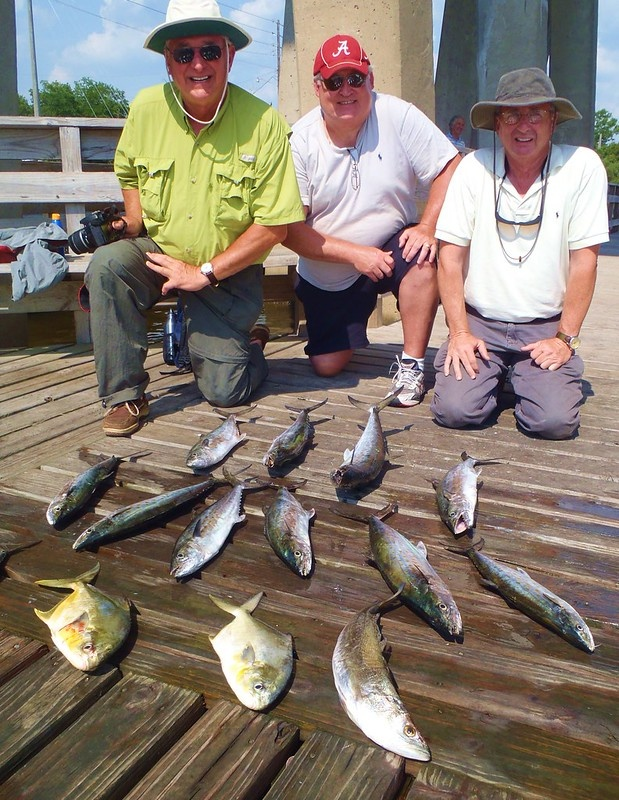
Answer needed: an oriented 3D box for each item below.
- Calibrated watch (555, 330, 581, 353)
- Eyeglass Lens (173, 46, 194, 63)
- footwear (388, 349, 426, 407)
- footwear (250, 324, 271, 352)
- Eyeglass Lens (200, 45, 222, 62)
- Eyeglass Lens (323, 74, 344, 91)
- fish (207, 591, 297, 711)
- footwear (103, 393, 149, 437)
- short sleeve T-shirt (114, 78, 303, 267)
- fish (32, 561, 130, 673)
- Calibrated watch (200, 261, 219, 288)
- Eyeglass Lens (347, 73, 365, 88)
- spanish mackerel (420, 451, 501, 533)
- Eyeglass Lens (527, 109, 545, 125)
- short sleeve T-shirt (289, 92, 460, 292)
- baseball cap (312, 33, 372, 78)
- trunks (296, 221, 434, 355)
[{"bbox_3d":[1.217,-0.278,3.133,0.100,0.095,0.075,4,14,12],"label":"Calibrated watch"},{"bbox_3d":[-0.557,-1.525,2.939,0.099,0.068,0.028,7,15,22],"label":"Eyeglass Lens"},{"bbox_3d":[0.533,-0.116,3.596,0.160,0.158,0.377,3,29,15],"label":"footwear"},{"bbox_3d":[-0.291,-0.371,3.952,0.076,0.072,0.185,16,46,-6],"label":"footwear"},{"bbox_3d":[-0.438,-1.544,2.946,0.092,0.037,0.082,-3,42,-8],"label":"Eyeglass Lens"},{"bbox_3d":[0.125,-1.575,3.299,0.083,0.031,0.073,-12,59,22],"label":"Eyeglass Lens"},{"bbox_3d":[-0.141,0.581,1.600,0.174,0.062,0.308,-10,33,-13],"label":"fish"},{"bbox_3d":[-0.861,0.083,3.151,0.111,0.107,0.279,2,15,11],"label":"footwear"},{"bbox_3d":[-0.494,-1.143,3.325,1.139,0.785,0.456,15,36,18],"label":"short sleeve T-shirt"},{"bbox_3d":[-0.574,0.544,1.707,0.224,0.093,0.369,-14,29,-23],"label":"fish"},{"bbox_3d":[-0.475,-0.602,3.191,0.077,0.112,0.111,-29,-5,-8],"label":"Calibrated watch"},{"bbox_3d":[0.227,-1.594,3.298,0.080,0.069,0.028,-1,-13,2],"label":"Eyeglass Lens"},{"bbox_3d":[0.528,0.320,2.366,0.133,0.105,0.328,-32,10,26],"label":"spanish mackerel"},{"bbox_3d":[1.007,-1.260,2.947,0.069,0.028,0.062,3,56,24],"label":"Eyeglass Lens"},{"bbox_3d":[0.354,-1.224,3.846,1.239,0.907,0.548,0,30,32],"label":"short sleeve T-shirt"},{"bbox_3d":[0.165,-1.746,3.370,0.288,0.259,0.236,3,13,6],"label":"baseball cap"},{"bbox_3d":[0.212,-0.532,3.921,0.840,0.577,0.551,6,-2,21],"label":"trunks"}]
